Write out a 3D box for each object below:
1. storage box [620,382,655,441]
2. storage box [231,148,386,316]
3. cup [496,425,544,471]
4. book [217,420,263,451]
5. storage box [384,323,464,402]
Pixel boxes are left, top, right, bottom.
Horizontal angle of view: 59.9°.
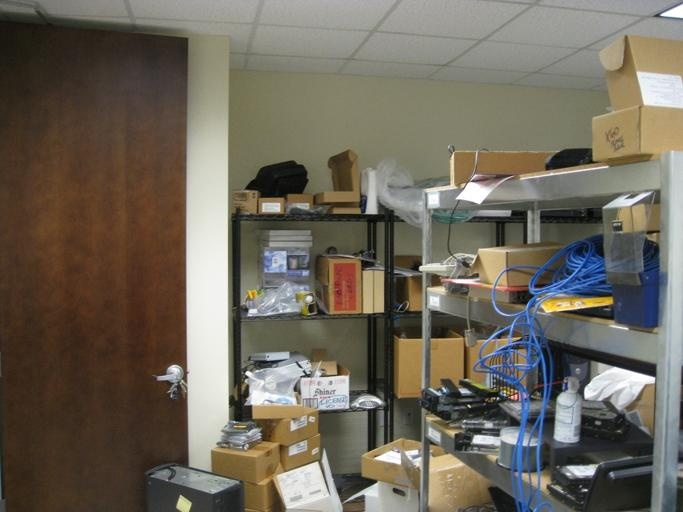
[{"bbox_3d":[1.095,0.581,2.191,0.115,0.112,0.204,-29,13,33],"label":"storage box"},{"bbox_3d":[-0.254,0.011,3.846,0.910,1.295,1.146,3,-6,-20],"label":"storage box"},{"bbox_3d":[0.599,0.649,1.999,0.147,0.107,0.150,0,4,0],"label":"cup"},{"bbox_3d":[-0.542,0.960,3.166,0.140,0.073,0.170,1,0,2],"label":"book"},{"bbox_3d":[0.519,0.648,3.806,0.482,0.366,0.483,0,-3,-5],"label":"storage box"}]
